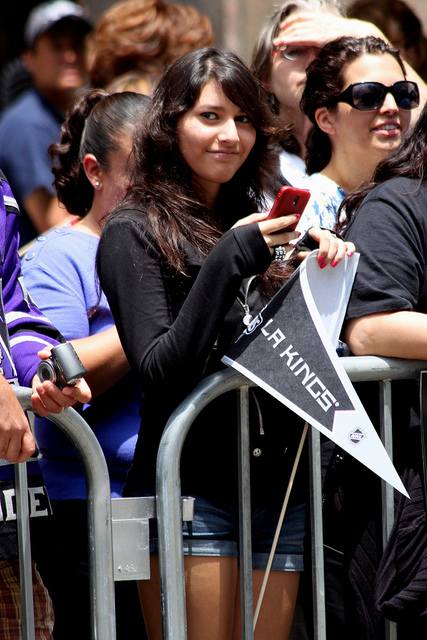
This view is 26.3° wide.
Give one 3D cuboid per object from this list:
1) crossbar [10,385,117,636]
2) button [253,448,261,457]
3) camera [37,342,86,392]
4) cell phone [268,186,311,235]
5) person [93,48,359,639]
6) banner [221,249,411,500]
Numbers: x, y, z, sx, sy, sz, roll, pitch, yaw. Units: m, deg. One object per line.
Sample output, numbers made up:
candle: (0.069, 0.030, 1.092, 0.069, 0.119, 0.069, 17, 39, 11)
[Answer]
crossbar: (-0.261, 0.423, 1.949, 0.105, 0.463, 0.190, -10, 17, -11)
button: (0.105, 0.317, 2.211, 0.020, 0.017, 0.017, -1, 25, -12)
camera: (-0.325, 0.106, 1.955, 0.063, 0.081, 0.098, -21, -18, -42)
cell phone: (0.170, -0.264, 2.068, 0.097, 0.072, 0.061, -6, 15, -2)
person: (0.039, 0.096, 2.249, 0.591, 1.493, 0.853, -8, 16, -6)
banner: (0.269, 0.074, 1.976, 0.025, 0.463, 0.551, -15, 42, -42)
